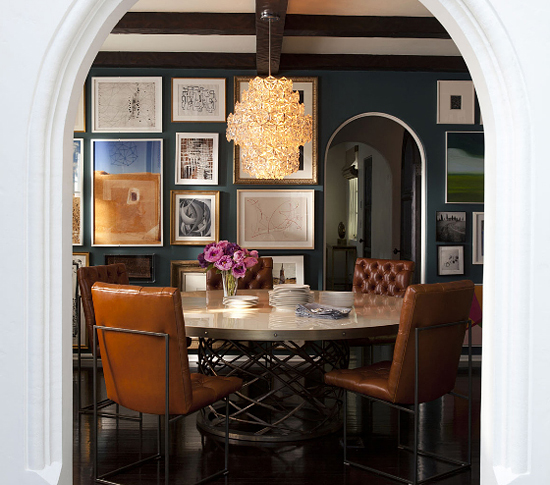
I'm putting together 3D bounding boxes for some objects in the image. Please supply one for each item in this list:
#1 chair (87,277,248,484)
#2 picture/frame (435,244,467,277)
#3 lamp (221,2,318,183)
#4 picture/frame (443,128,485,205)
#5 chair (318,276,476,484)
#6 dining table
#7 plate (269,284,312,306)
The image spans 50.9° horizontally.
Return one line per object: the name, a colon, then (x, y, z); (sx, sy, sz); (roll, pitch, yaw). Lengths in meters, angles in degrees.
chair: (-0.583, 0.648, 2.911); (0.520, 0.917, 0.511); (1, 2, 26)
picture/frame: (1.707, 0.169, 5.645); (0.313, 0.376, 0.030); (0, 0, -2)
lamp: (-0.041, -1.019, 4.328); (0.603, 1.096, 1.272); (0, 2, 0)
picture/frame: (1.849, -0.711, 5.597); (0.023, 0.704, 0.488); (-7, 10, -33)
chair: (0.740, 0.720, 3.132); (0.652, 1.064, 0.645); (2, 3, 44)
dining table: (-0.023, 0.821, 3.679); (1.537, 0.694, 1.514); (0, -4, 44)
plate: (0.083, 0.335, 3.682); (0.169, 0.079, 0.162); (0, 0, 38)
